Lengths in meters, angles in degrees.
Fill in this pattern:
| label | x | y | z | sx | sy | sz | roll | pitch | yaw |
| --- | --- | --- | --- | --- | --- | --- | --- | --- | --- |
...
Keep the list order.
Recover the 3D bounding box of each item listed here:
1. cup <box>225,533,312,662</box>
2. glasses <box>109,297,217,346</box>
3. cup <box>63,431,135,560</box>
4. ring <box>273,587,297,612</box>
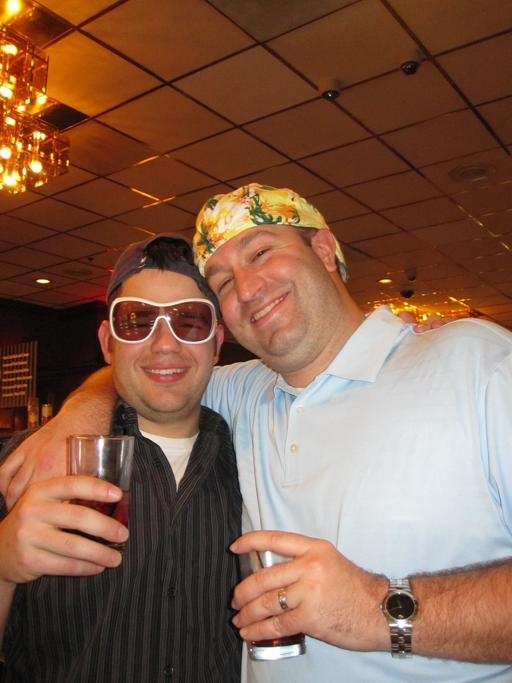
| label | x | y | z | sx | sy | sz | roll | pitch | yaw |
| --- | --- | --- | --- | --- | --- | --- | --- | --- | --- |
| cup | 0.020 | 0.529 | 1.146 | 0.130 | 0.262 | 0.156 | 4 | -6 | -29 |
| glasses | -0.300 | -0.069 | 1.843 | 0.232 | 0.086 | 0.201 | 3 | -29 | -10 |
| cup | -0.332 | 0.309 | 1.209 | 0.140 | 0.227 | 0.128 | 1 | -5 | 0 |
| ring | 0.050 | 0.473 | 1.067 | 0.043 | 0.032 | 0.040 | -9 | -18 | -3 |
